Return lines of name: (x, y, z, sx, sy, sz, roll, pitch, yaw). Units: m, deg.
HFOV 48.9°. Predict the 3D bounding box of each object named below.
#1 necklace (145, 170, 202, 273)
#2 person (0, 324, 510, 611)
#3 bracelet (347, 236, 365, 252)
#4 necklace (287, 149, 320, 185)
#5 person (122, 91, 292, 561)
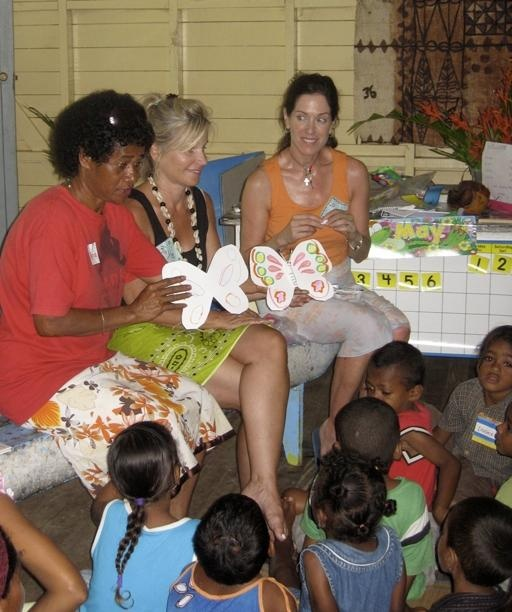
necklace: (-0.351, -0.346, 2.297, 0.223, 0.348, 0.051, -14, -1, -38)
person: (-0.457, 0.641, 2.423, 1.600, 0.331, 0.983, -11, 23, -13)
bracelet: (0.458, -0.277, 2.529, 0.057, 0.026, 0.064, -1, -27, 0)
necklace: (0.208, -0.609, 2.484, 0.166, 0.137, 0.051, -5, 7, -12)
person: (-0.172, -0.012, 2.188, 0.851, 1.357, 0.525, 14, 23, 17)
